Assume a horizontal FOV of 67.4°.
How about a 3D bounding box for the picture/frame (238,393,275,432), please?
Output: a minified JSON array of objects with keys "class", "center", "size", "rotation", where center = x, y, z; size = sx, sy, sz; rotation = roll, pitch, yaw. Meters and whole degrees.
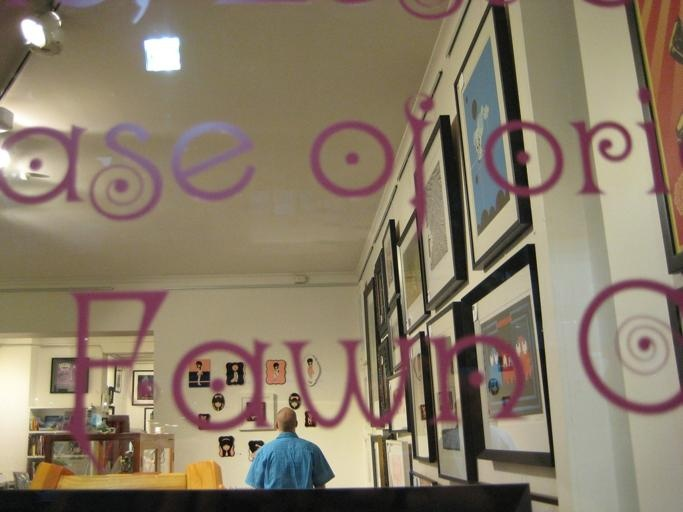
[{"class":"picture/frame","center":[-0.149,0.283,0.917],"size":[0.065,0.062,0.036],"rotation":[0,-20,-4]}]
